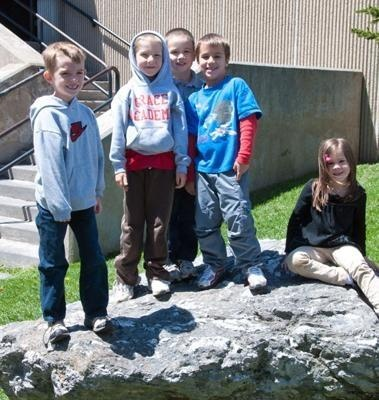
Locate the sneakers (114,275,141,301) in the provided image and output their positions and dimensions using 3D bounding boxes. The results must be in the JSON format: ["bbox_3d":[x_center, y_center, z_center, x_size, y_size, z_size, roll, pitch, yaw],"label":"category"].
[{"bbox_3d":[-0.402,0.572,3.225,0.103,0.111,0.137,20,0,10],"label":"sneakers"}]

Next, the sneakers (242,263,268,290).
[{"bbox_3d":[0.387,0.466,2.971,0.069,0.078,0.185,-21,-3,-5],"label":"sneakers"}]

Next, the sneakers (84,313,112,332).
[{"bbox_3d":[-0.479,0.651,2.647,0.070,0.072,0.148,5,-18,-37],"label":"sneakers"}]

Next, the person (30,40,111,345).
[{"bbox_3d":[-0.619,-0.052,2.626,0.356,1.561,0.483,-3,8,-11],"label":"person"}]

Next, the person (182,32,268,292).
[{"bbox_3d":[0.233,-0.238,3.106,0.614,1.579,0.450,4,9,28],"label":"person"}]

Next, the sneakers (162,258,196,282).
[{"bbox_3d":[-0.058,0.470,3.313,0.121,0.088,0.204,-17,-16,-2],"label":"sneakers"}]

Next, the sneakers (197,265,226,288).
[{"bbox_3d":[0.133,0.497,3.154,0.083,0.095,0.226,-18,0,20],"label":"sneakers"}]

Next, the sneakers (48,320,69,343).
[{"bbox_3d":[-0.661,0.681,2.525,0.113,0.114,0.102,-3,9,-13],"label":"sneakers"}]

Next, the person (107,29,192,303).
[{"bbox_3d":[-0.245,-0.232,3.058,0.443,1.559,0.375,3,9,26],"label":"person"}]
